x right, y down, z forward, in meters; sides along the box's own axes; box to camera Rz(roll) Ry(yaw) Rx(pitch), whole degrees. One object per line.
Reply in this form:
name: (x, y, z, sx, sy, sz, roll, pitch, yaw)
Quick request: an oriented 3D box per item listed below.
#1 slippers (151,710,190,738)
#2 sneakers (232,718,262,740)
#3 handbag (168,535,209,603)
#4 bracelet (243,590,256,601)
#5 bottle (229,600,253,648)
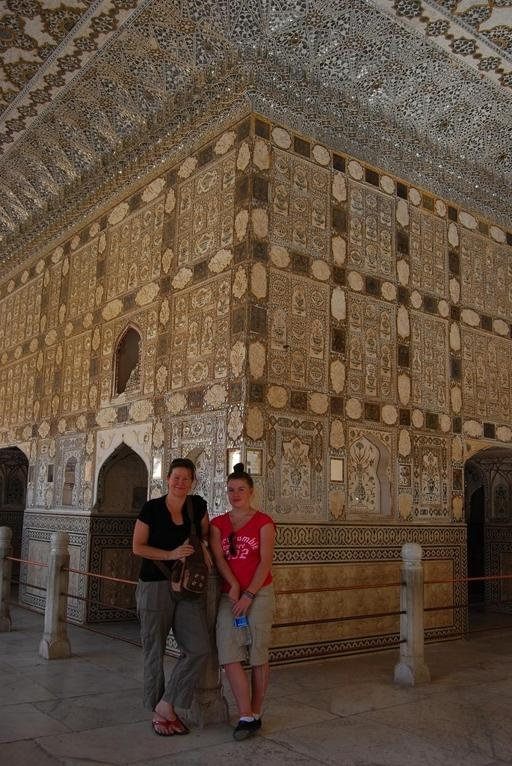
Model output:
slippers: (-0.363, 1.385, 2.710, 0.186, 0.076, 0.145, -2, -12, 12)
sneakers: (-0.042, 1.373, 2.636, 0.056, 0.055, 0.153, -11, -20, 16)
handbag: (-0.263, 0.745, 2.682, 0.160, 0.222, 0.089, 5, -13, -21)
bracelet: (-0.030, 0.857, 2.705, 0.051, 0.032, 0.048, 13, -17, -30)
bottle: (-0.054, 1.008, 2.712, 0.091, 0.141, 0.077, 6, -13, -24)
